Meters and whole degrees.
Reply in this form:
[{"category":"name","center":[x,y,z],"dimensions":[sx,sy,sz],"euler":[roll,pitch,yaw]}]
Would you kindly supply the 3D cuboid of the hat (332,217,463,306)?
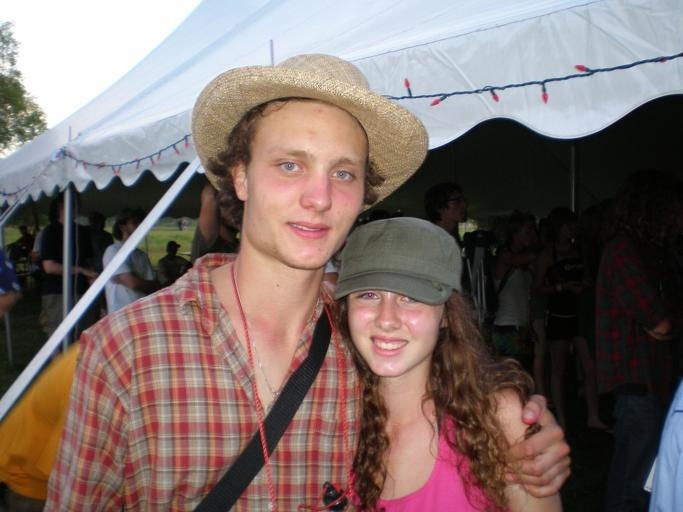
[{"category":"hat","center":[0.293,0.029,3.053],"dimensions":[0.408,0.287,0.550],"euler":[-2,-8,24]}]
